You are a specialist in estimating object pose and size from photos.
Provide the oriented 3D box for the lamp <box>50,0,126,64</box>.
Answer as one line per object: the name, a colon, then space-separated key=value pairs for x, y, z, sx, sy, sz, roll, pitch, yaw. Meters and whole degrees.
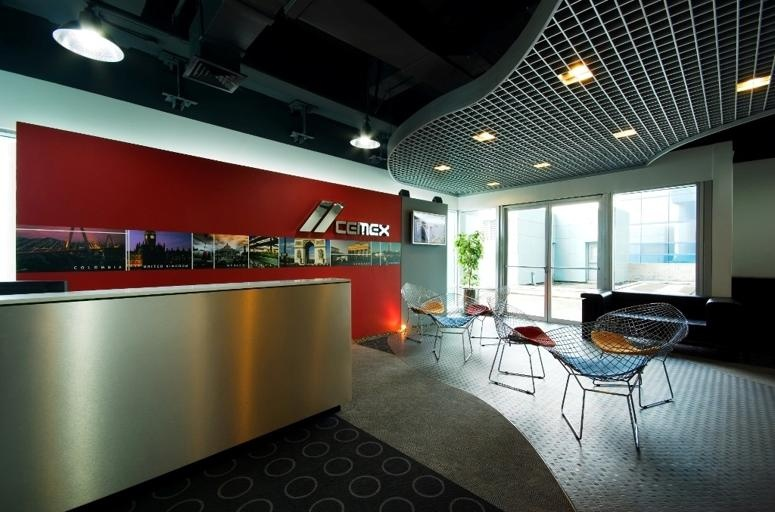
lamp: x=-3.779 y=-2.839 z=5.976 sx=0.641 sy=0.537 sz=0.459 roll=-1 pitch=8 yaw=0
